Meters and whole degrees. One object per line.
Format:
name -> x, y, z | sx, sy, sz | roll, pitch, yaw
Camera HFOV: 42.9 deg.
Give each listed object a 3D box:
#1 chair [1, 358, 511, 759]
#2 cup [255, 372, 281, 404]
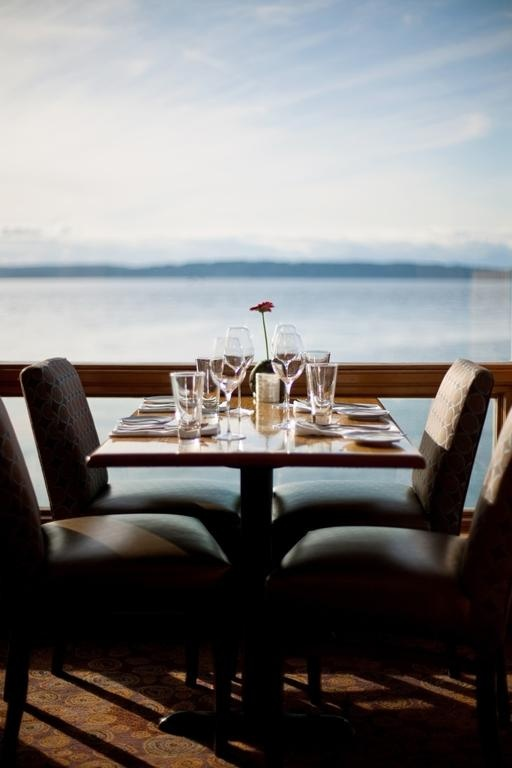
chair -> 0.006, 0.326, 1.359 | 0.798, 0.686, 0.770 | 0, 5, 1
cup -> 0.033, 0.017, 1.974 | 0.090, 0.088, 0.077 | -1, 5, -19
